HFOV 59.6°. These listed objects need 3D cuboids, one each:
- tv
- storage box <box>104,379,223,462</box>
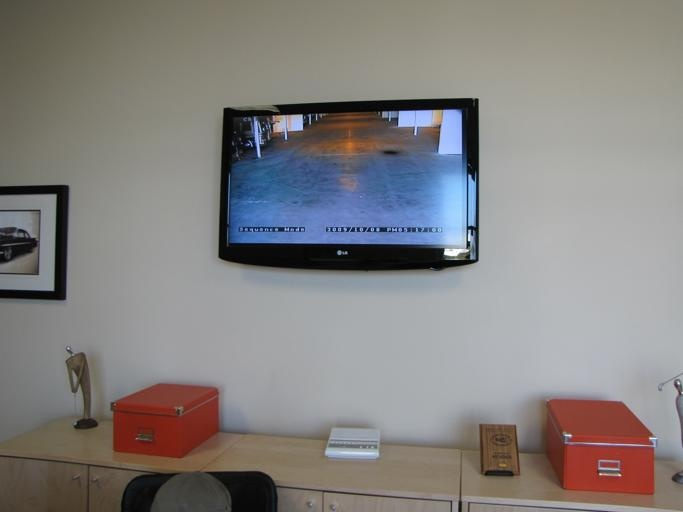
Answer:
[{"bbox_3d":[0.087,-0.342,2.919,0.943,0.585,0.093,0,1,6],"label":"tv"},{"bbox_3d":[-0.862,0.789,2.925,0.313,0.201,0.415,2,-5,10],"label":"storage box"}]
